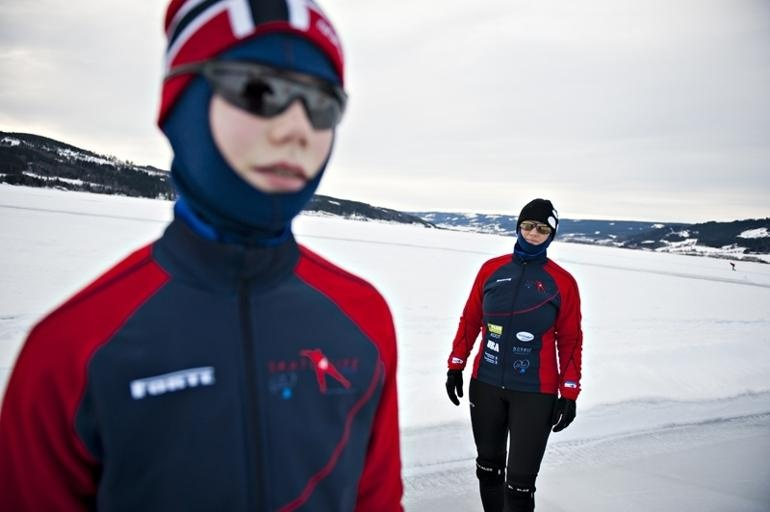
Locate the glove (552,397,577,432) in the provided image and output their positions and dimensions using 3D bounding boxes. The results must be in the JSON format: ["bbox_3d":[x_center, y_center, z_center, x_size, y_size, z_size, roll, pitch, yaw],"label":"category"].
[{"bbox_3d":[1.162,1.025,3.928,0.072,0.214,0.157,31,-10,8],"label":"glove"}]

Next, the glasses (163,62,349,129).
[{"bbox_3d":[-0.434,-0.586,2.159,0.603,0.209,0.168,6,10,1],"label":"glasses"}]
